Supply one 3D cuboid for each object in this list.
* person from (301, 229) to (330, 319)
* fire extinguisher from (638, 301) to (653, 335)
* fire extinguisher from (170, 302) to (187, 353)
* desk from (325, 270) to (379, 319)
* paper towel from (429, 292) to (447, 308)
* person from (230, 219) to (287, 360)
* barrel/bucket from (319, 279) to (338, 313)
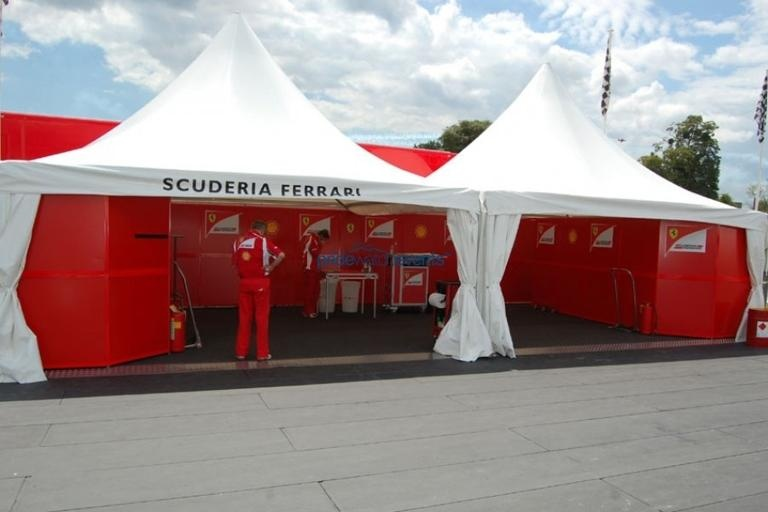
[{"bbox_3d":[-1.563,0.377,12.970,0.522,1.923,0.919,4,9,15],"label":"person"},{"bbox_3d":[5.381,1.278,11.653,0.277,0.625,0.145,6,10,26],"label":"fire extinguisher"},{"bbox_3d":[-3.445,1.198,9.479,0.217,0.745,0.273,0,9,-12],"label":"fire extinguisher"},{"bbox_3d":[-0.853,0.882,13.344,1.219,1.070,1.026,1,3,-15],"label":"desk"},{"bbox_3d":[1.010,0.830,10.693,0.257,0.281,0.300,0,0,-32],"label":"paper towel"},{"bbox_3d":[-2.038,0.569,9.120,0.682,2.217,0.606,-3,10,-28],"label":"person"},{"bbox_3d":[-1.309,0.936,13.570,0.604,0.742,0.616,5,-8,1],"label":"barrel/bucket"}]
